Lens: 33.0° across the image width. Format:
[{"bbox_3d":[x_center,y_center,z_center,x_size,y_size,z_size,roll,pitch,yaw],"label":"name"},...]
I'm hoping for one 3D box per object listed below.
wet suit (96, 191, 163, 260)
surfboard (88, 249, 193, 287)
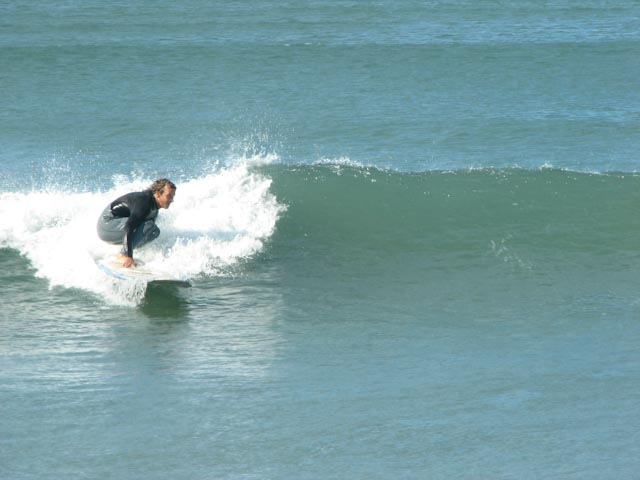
[{"bbox_3d":[-3.871,-0.370,21.474,1.148,1.170,1.108,20,49,7],"label":"wet suit"},{"bbox_3d":[-3.677,0.445,21.261,1.745,0.186,0.789,13,12,16],"label":"surfboard"}]
